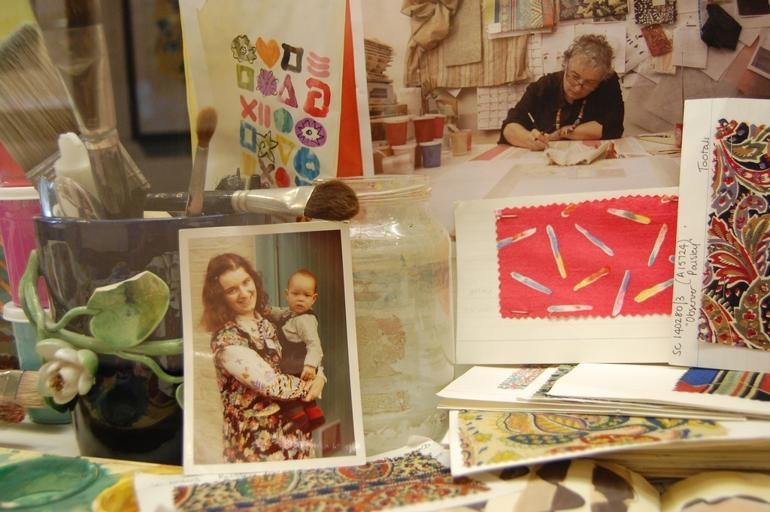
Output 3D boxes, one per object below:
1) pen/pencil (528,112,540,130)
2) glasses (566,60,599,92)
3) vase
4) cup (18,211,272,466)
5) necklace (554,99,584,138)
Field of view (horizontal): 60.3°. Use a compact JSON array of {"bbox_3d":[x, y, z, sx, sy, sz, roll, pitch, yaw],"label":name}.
[{"bbox_3d":[0.197,-0.179,0.885,0.006,0.034,0.006,-26,8,-3],"label":"pen/pencil"},{"bbox_3d":[0.257,-0.231,0.863,0.036,0.018,0.043,4,-5,-1],"label":"glasses"},{"bbox_3d":[0.041,0.078,0.907,0.202,0.321,0.189,-6,2,-6],"label":"vase"},{"bbox_3d":[-0.278,0.104,0.910,0.286,0.238,0.302,0,-1,0],"label":"cup"},{"bbox_3d":[0.242,-0.177,0.875,0.033,0.044,0.012,30,12,3],"label":"necklace"}]
